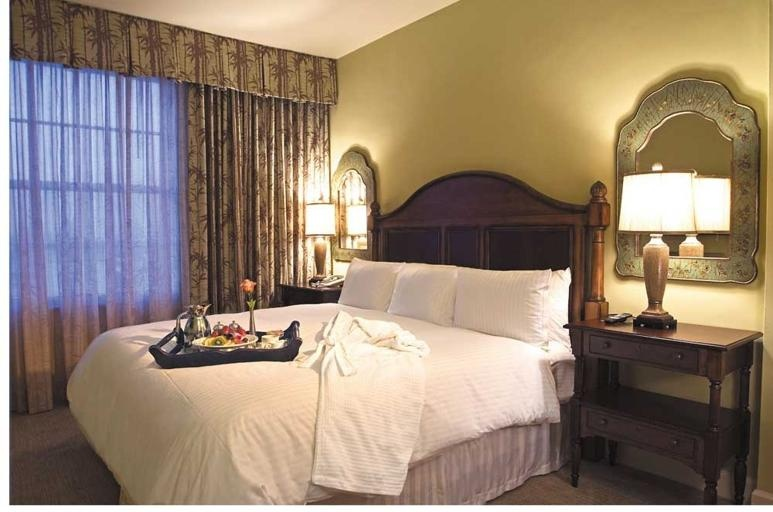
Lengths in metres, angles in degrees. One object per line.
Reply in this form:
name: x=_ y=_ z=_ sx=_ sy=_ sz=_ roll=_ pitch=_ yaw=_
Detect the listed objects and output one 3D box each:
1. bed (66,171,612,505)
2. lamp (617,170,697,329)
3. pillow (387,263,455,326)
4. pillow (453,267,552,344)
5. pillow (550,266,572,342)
bed: x=-0.246 y=0.743 z=4.011 sx=2.950 sy=1.809 sz=2.873 roll=3 pitch=-3 yaw=-29
lamp: x=1.857 y=-0.075 z=3.726 sx=0.465 sy=1.122 sz=0.267 roll=4 pitch=5 yaw=30
pillow: x=0.291 y=0.281 z=4.517 sx=0.506 sy=0.492 sz=0.159 roll=2 pitch=-28 yaw=40
pillow: x=0.891 y=0.392 z=4.097 sx=0.517 sy=0.327 sz=0.185 roll=-4 pitch=-32 yaw=48
pillow: x=1.318 y=0.389 z=4.124 sx=0.125 sy=0.417 sz=0.435 roll=1 pitch=-7 yaw=8
